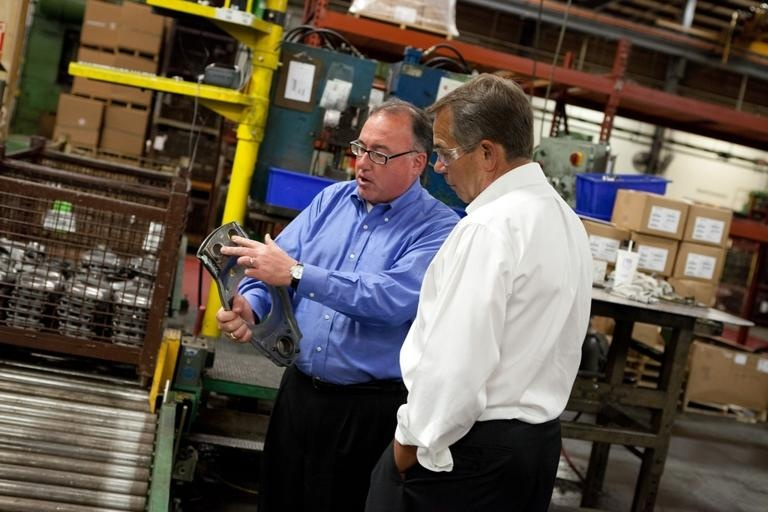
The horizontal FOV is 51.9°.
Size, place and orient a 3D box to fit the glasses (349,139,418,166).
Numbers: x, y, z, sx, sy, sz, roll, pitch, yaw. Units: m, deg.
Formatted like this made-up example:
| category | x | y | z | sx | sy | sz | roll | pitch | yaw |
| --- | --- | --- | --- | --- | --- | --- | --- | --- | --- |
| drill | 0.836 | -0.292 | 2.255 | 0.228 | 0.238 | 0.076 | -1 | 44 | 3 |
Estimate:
| category | x | y | z | sx | sy | sz | roll | pitch | yaw |
| --- | --- | --- | --- | --- | --- | --- | --- | --- | --- |
| glasses | 0.006 | -0.630 | 4.544 | 0.207 | 0.060 | 0.217 | 28 | 27 | 35 |

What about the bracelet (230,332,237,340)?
| category | x | y | z | sx | sy | sz | roll | pitch | yaw |
| --- | --- | --- | --- | --- | --- | --- | --- | --- | --- |
| bracelet | -0.851 | 0.456 | 4.461 | 0.013 | 0.041 | 0.038 | -36 | 41 | -30 |

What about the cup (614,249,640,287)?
| category | x | y | z | sx | sy | sz | roll | pitch | yaw |
| --- | --- | --- | --- | --- | --- | --- | --- | --- | --- |
| cup | 1.850 | 0.076 | 6.021 | 0.160 | 0.328 | 0.095 | 11 | 32 | 15 |

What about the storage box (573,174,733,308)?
| category | x | y | z | sx | sy | sz | roll | pitch | yaw |
| --- | --- | --- | --- | --- | --- | --- | --- | --- | --- |
| storage box | 2.347 | -0.129 | 7.400 | 1.182 | 0.981 | 1.211 | 7 | 17 | -18 |

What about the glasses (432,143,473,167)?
| category | x | y | z | sx | sy | sz | roll | pitch | yaw |
| --- | --- | --- | --- | --- | --- | --- | --- | --- | --- |
| glasses | 0.334 | -0.522 | 4.039 | 0.130 | 0.056 | 0.128 | -20 | 9 | -15 |

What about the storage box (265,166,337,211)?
| category | x | y | z | sx | sy | sz | roll | pitch | yaw |
| --- | --- | --- | --- | --- | --- | --- | --- | --- | --- |
| storage box | -0.657 | -0.541 | 6.309 | 0.464 | 0.229 | 0.326 | 8 | 5 | -21 |
